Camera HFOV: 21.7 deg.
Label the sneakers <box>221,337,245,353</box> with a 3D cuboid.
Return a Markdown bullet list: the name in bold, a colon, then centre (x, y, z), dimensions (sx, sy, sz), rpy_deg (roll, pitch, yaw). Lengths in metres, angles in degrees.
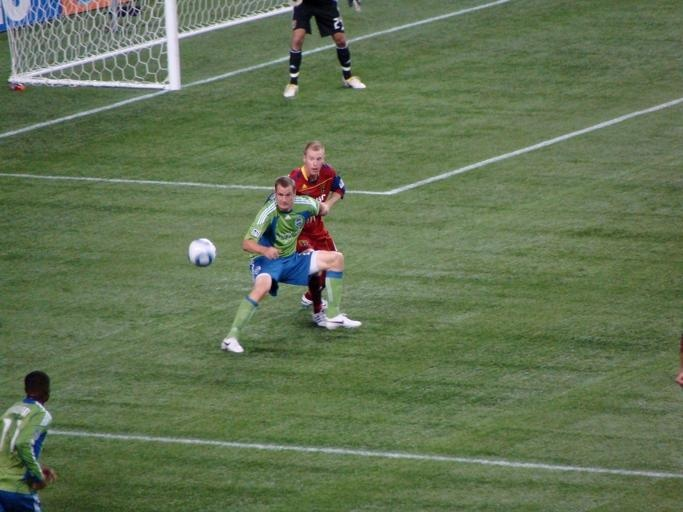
- **sneakers**: centre (-1.035, 0.846, 17.147), dimensions (0.249, 0.101, 0.119), rpy_deg (10, 20, 22)

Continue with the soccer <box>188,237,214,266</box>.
- **soccer**: centre (-1.344, -0.044, 17.543), dimensions (0.239, 0.277, 0.239), rpy_deg (0, 5, 14)

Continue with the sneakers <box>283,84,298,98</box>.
- **sneakers**: centre (-0.614, -2.084, 22.100), dimensions (0.133, 0.083, 0.218), rpy_deg (-1, 12, 7)

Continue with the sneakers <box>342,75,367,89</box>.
- **sneakers**: centre (0.185, -2.219, 22.357), dimensions (0.282, 0.104, 0.148), rpy_deg (9, 27, 29)
